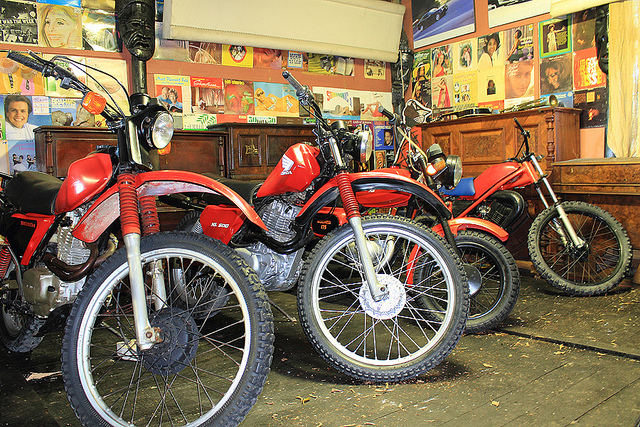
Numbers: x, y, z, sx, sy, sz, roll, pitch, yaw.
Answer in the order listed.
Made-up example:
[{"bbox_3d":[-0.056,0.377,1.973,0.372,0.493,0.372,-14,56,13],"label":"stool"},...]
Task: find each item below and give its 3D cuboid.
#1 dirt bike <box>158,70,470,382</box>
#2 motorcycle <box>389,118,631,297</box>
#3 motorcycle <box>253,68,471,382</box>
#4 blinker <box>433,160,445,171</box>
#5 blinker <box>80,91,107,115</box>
[{"bbox_3d":[-0.318,0.093,3.544,2.722,1.716,0.682,4,-1,36],"label":"dirt bike"},{"bbox_3d":[1.719,-0.029,5.022,2.584,1.477,1.061,3,15,37],"label":"motorcycle"},{"bbox_3d":[0.211,0.014,3.532,1.332,1.944,1.726,-3,12,-7],"label":"motorcycle"},{"bbox_3d":[0.942,-0.379,3.889,0.061,0.047,0.063,-1,21,21],"label":"blinker"},{"bbox_3d":[-1.179,-0.578,2.569,0.113,0.115,0.154,-7,13,-25],"label":"blinker"}]
